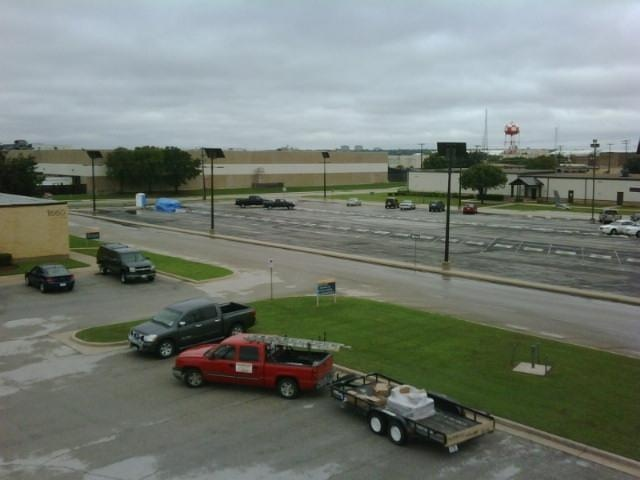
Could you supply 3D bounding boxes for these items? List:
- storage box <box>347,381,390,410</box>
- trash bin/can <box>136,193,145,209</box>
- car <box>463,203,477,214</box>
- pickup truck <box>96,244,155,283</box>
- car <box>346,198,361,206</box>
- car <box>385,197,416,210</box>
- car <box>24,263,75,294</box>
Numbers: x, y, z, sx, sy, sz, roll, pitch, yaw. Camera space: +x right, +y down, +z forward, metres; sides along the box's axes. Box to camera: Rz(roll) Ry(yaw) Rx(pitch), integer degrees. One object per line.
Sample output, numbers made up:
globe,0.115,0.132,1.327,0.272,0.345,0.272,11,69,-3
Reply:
storage box,1.625,5.233,21.020,1.376,0.511,1.484,1,12,5
trash bin/can,-25.447,-5.537,89.142,1.062,1.863,1.833,0,14,-1
car,20.429,-4.206,85.067,1.434,0.853,2.936,5,13,26
pickup truck,-12.087,1.559,39.107,1.614,1.886,4.353,-12,17,-40
car,5.293,-5.851,96.832,1.365,0.804,2.057,11,14,39
car,11.519,-5.103,90.804,4.065,0.970,2.190,5,8,29
car,-15.520,2.194,36.274,1.491,1.449,2.701,-13,18,-43
